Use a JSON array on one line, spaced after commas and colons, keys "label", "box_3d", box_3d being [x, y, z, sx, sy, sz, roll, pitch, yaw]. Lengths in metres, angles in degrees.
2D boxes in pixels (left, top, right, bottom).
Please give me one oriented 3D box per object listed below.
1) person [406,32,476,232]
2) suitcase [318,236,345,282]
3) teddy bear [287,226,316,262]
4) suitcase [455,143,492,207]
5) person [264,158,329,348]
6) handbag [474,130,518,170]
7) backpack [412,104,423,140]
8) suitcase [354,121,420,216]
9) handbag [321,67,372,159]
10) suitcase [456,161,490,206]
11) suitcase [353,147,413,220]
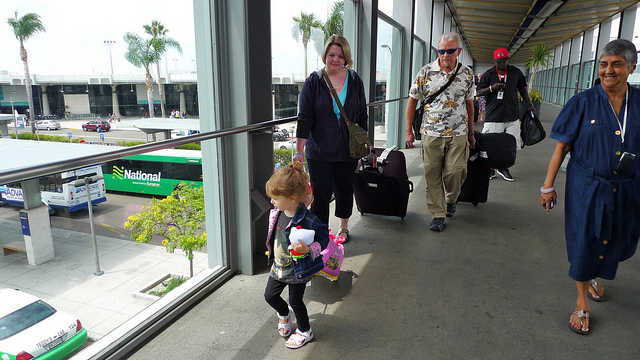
[{"label": "person", "box_3d": [1.502, -0.575, 4.739, 0.807, 2.372, 0.565, 3, 15, 20]}, {"label": "suitcase", "box_3d": [0.068, 0.786, 3.728, 0.349, 0.379, 0.132, 19, 4, -36]}, {"label": "teddy bear", "box_3d": [-0.161, 0.521, 3.166, 0.232, 0.263, 0.186, 4, -2, 19]}, {"label": "suitcase", "box_3d": [2.095, -0.102, 5.170, 0.488, 0.896, 0.571, -2, 26, 6]}, {"label": "person", "box_3d": [-0.198, 0.624, 3.208, 0.552, 1.519, 0.411, -2, 14, 0]}, {"label": "handbag", "box_3d": [2.416, -0.420, 5.210, 0.581, 0.411, 0.310, 13, 25, 34]}, {"label": "backpack", "box_3d": [1.249, -0.732, 4.868, 0.117, 0.315, 0.241, 4, 0, 35]}, {"label": "suitcase", "box_3d": [0.775, -0.107, 4.885, 0.793, 1.175, 0.463, 3, 37, 28]}, {"label": "handbag", "box_3d": [0.267, -0.608, 3.872, 0.411, 0.976, 0.228, -35, 17, -30]}, {"label": "suitcase", "box_3d": [2.131, 0.021, 5.266, 0.421, 0.720, 0.443, 0, 19, 6]}, {"label": "suitcase", "box_3d": [0.836, -0.002, 4.956, 0.705, 0.970, 0.548, 5, 45, 25]}]
